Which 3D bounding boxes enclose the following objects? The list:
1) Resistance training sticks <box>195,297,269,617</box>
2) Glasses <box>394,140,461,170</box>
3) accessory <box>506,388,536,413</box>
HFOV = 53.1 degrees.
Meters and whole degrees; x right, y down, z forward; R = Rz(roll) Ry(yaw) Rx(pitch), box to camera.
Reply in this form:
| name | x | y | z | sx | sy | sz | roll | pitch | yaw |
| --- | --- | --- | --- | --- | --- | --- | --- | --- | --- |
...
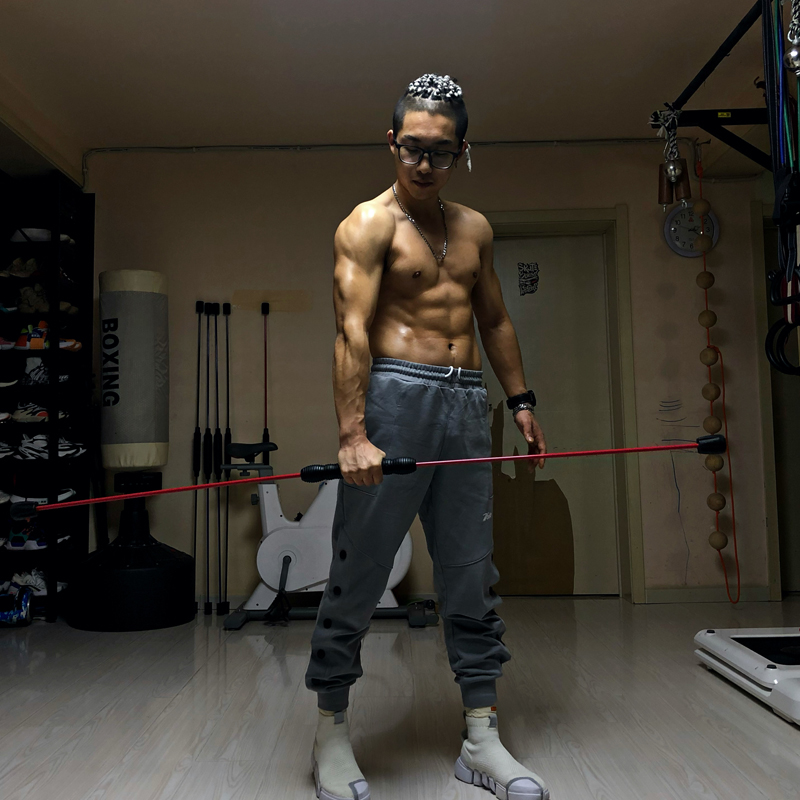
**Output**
| name | x | y | z | sx | sy | sz | roll | pitch | yaw |
| --- | --- | --- | --- | --- | --- | --- | --- | --- | --- |
| Resistance training sticks | -0.891 | 0.375 | 4.200 | 0.141 | 1.637 | 0.106 | 2 | 3 | 29 |
| Glasses | 0.072 | -0.617 | 2.012 | 0.172 | 0.086 | 0.068 | 0 | -5 | -1 |
| accessory | 0.353 | 0.011 | 2.357 | 0.064 | 0.048 | 0.061 | -14 | -4 | 32 |
